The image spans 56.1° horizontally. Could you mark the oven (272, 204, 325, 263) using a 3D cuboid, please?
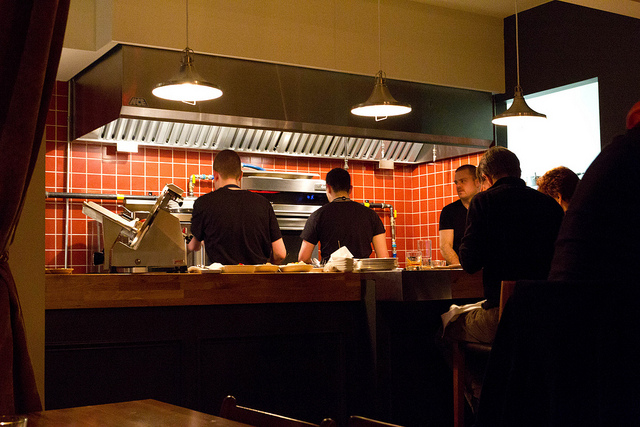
[{"bbox_3d":[-0.296,0.234,6.167,0.582,0.822,0.535,2,-6,-23],"label":"oven"}]

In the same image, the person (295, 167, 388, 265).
[{"bbox_3d":[0.189,0.020,4.643,0.651,0.722,0.358,2,-2,5],"label":"person"}]
